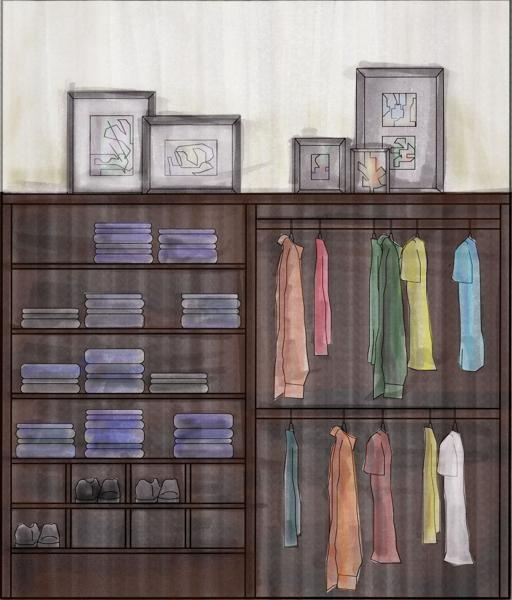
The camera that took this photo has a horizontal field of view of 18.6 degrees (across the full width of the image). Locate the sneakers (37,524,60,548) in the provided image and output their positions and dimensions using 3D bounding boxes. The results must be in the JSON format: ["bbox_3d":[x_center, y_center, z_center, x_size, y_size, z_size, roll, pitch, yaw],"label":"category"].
[{"bbox_3d":[-0.822,0.922,6.162,0.058,0.091,0.178,1,-4,-8],"label":"sneakers"}]
